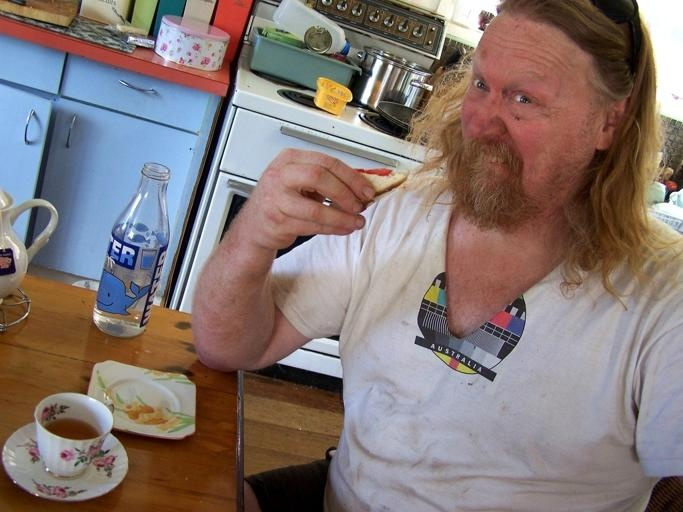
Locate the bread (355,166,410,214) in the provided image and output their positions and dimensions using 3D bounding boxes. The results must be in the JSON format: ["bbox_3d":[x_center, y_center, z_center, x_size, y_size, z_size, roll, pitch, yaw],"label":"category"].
[{"bbox_3d":[0.087,-0.148,1.185,0.089,0.030,0.090,-23,13,-12],"label":"bread"}]

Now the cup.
[{"bbox_3d":[-0.390,0.254,0.820,0.113,0.091,0.117,21,25,-10],"label":"cup"}]

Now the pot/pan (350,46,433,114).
[{"bbox_3d":[0.213,-0.733,2.567,0.312,0.230,0.294,29,18,9],"label":"pot/pan"}]

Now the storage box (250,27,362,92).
[{"bbox_3d":[-0.165,-0.761,2.301,0.314,0.103,0.265,15,17,-30],"label":"storage box"}]
